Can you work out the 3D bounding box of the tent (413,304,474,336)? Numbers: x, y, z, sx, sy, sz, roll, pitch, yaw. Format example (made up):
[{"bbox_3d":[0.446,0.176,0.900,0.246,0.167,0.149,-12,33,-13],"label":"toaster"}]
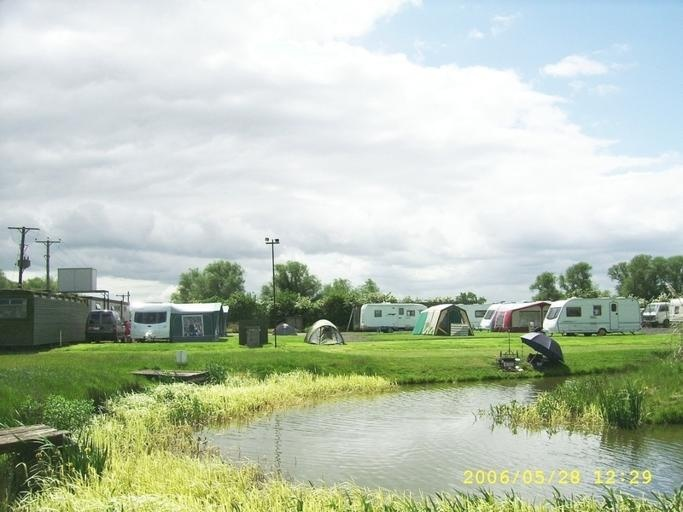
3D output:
[{"bbox_3d":[7.307,4.638,52.424,4.220,2.244,3.504,-9,-4,43],"label":"tent"}]

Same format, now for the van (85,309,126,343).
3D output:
[{"bbox_3d":[-14.335,4.183,45.289,1.407,1.377,2.631,0,0,-2],"label":"van"}]

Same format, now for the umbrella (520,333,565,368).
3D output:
[{"bbox_3d":[8.828,4.113,32.282,1.642,1.226,1.688,-1,-1,26],"label":"umbrella"}]

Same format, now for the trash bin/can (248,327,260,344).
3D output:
[{"bbox_3d":[-4.772,4.365,40.333,0.666,0.966,0.777,0,-1,-9],"label":"trash bin/can"}]

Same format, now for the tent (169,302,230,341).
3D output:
[{"bbox_3d":[-9.158,4.164,47.129,3.550,2.290,3.265,-1,-2,-11],"label":"tent"}]

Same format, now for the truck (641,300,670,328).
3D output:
[{"bbox_3d":[26.127,4.928,61.375,2.189,1.261,1.316,3,-7,-25],"label":"truck"}]
